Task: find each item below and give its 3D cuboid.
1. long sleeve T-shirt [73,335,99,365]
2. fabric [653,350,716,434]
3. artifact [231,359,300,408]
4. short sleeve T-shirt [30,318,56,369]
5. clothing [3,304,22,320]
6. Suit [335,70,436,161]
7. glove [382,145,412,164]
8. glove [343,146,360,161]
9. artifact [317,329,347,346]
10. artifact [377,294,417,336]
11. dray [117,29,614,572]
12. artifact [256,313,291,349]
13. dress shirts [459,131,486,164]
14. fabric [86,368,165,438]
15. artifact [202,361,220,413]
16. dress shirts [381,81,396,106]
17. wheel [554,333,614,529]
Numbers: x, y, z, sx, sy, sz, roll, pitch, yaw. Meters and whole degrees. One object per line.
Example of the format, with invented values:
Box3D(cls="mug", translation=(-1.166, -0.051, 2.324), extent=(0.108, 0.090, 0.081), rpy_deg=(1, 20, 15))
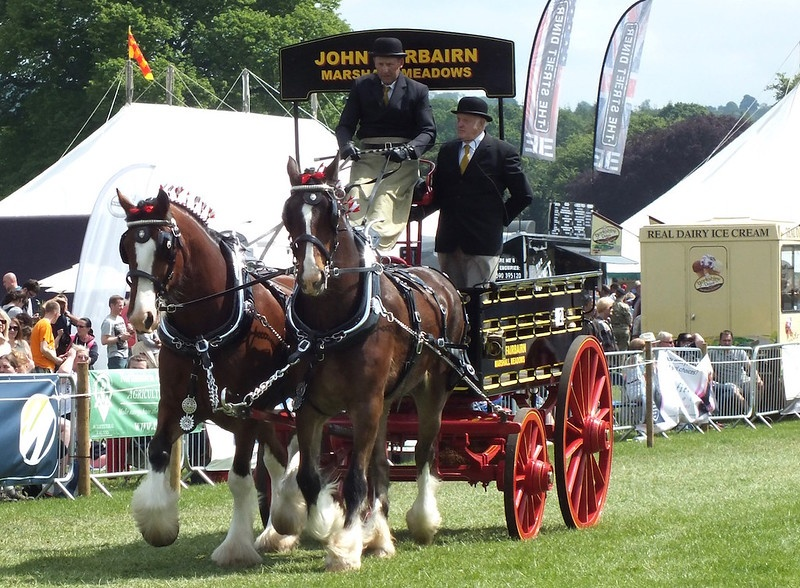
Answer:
Box3D(cls="long sleeve T-shirt", translation=(-4.519, 0.816, 18.975), extent=(0.457, 0.518, 0.295), rpy_deg=(3, -10, -22))
Box3D(cls="fabric", translation=(4.493, 1.531, 20.712), extent=(1.519, 1.233, 0.252), rpy_deg=(4, -2, -38))
Box3D(cls="artifact", translation=(-1.350, 0.909, 13.192), extent=(0.093, 0.589, 0.154), rpy_deg=(50, 1, 34))
Box3D(cls="short sleeve T-shirt", translation=(-4.936, 0.721, 18.230), extent=(0.411, 0.745, 0.691), rpy_deg=(-1, 2, -29))
Box3D(cls="clothing", translation=(-5.433, 0.273, 18.525), extent=(0.180, 0.168, 0.096), rpy_deg=(6, -36, -8))
Box3D(cls="Suit", translation=(-0.154, -1.995, 14.648), extent=(1.123, 0.951, 0.826), rpy_deg=(7, 18, 14))
Box3D(cls="glove", translation=(-0.010, -1.466, 13.877), extent=(0.243, 0.180, 0.347), rpy_deg=(2, 6, 36))
Box3D(cls="glove", translation=(-0.492, -1.466, 13.764), extent=(0.107, 0.138, 0.309), rpy_deg=(2, 6, 30))
Box3D(cls="artifact", translation=(-0.635, 0.443, 12.846), extent=(0.230, 0.134, 0.071), rpy_deg=(-19, -10, 6))
Box3D(cls="artifact", translation=(-0.052, 0.245, 13.166), extent=(0.129, 0.156, 0.934), rpy_deg=(9, -11, 37))
Box3D(cls="dray", translation=(-0.337, 0.605, 14.030), extent=(4.091, 4.877, 6.483), rpy_deg=(-4, -1, 26))
Box3D(cls="artifact", translation=(-1.278, 0.379, 13.459), extent=(0.423, 0.115, 0.269), rpy_deg=(41, 16, 4))
Box3D(cls="dress shirts", translation=(0.816, -1.627, 14.766), extent=(0.249, 0.308, 0.126), rpy_deg=(7, -6, 10))
Box3D(cls="fabric", translation=(-3.565, 1.440, 17.294), extent=(0.095, 0.876, 1.271), rpy_deg=(0, -1, 37))
Box3D(cls="artifact", translation=(-1.843, 0.922, 13.017), extent=(0.146, 0.511, 0.163), rpy_deg=(-3, 6, -19))
Box3D(cls="dress shirts", translation=(-0.119, -2.225, 14.607), extent=(0.177, 0.227, 0.077), rpy_deg=(1, -2, 14))
Box3D(cls="wheel", translation=(2.045, 1.556, 14.685), extent=(0.601, 1.884, 1.938), rpy_deg=(1, 8, 25))
